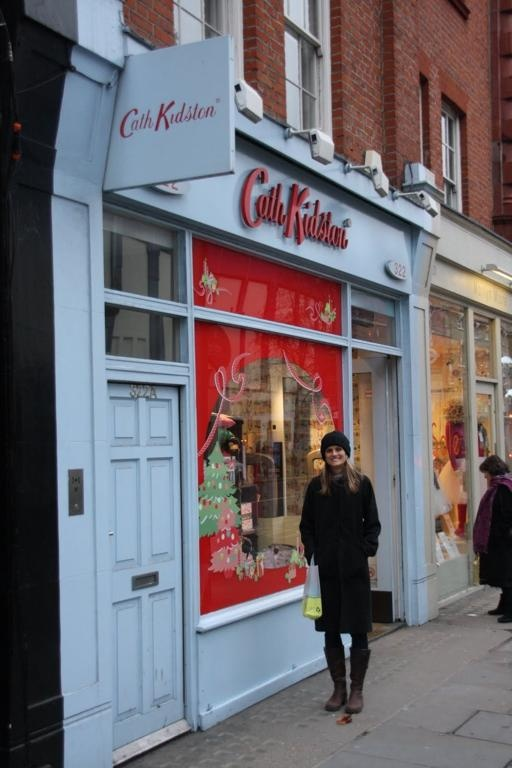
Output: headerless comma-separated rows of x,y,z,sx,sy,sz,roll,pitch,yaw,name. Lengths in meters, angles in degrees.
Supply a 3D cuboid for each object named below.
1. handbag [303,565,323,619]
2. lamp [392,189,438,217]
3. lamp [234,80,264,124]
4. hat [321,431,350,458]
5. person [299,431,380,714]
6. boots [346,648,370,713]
0.353,1.339,4.272,0.119,0.362,0.145,-3,-6,5,handbag
1.826,-2.022,7.442,0.314,0.224,0.387,6,1,9,lamp
-0.054,-1.842,4.406,0.110,0.177,0.330,-6,-8,23,lamp
0.528,0.393,4.469,0.120,0.188,0.186,2,-17,9,hat
0.554,1.221,4.390,0.520,1.792,0.377,-4,-6,11,person
0.651,1.910,4.344,0.164,0.398,0.332,-4,-7,7,boots
